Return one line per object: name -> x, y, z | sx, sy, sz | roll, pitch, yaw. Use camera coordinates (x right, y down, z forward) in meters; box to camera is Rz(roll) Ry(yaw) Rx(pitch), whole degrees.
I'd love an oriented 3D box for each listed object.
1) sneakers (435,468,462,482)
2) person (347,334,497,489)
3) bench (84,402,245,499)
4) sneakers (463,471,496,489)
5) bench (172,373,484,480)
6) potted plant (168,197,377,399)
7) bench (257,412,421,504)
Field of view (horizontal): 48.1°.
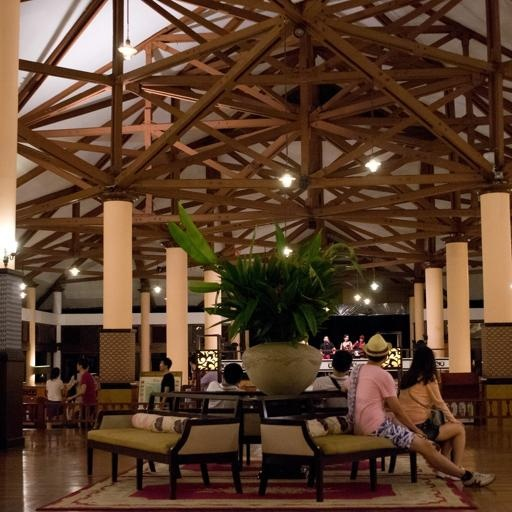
sneakers -> 1.384, 1.611, 4.251 | 0.270, 0.082, 0.085 | 0, -7, 5
person -> 1.215, 1.163, 4.260 | 1.260, 0.952, 0.421 | 16, -20, -18
bench -> -0.654, 1.434, 4.198 | 0.599, 0.443, 1.177 | 8, -11, -37
sneakers -> 1.548, 1.551, 4.027 | 0.312, 0.103, 0.092 | -3, 2, -2
bench -> 0.320, 1.171, 4.278 | 2.689, 1.064, 0.590 | 1, -6, -7
potted plant -> 0.131, 0.373, 4.001 | 1.145, 1.193, 0.758 | -2, -9, 3
bench -> 0.448, 1.280, 3.760 | 0.722, 0.512, 0.585 | 5, -11, -41
